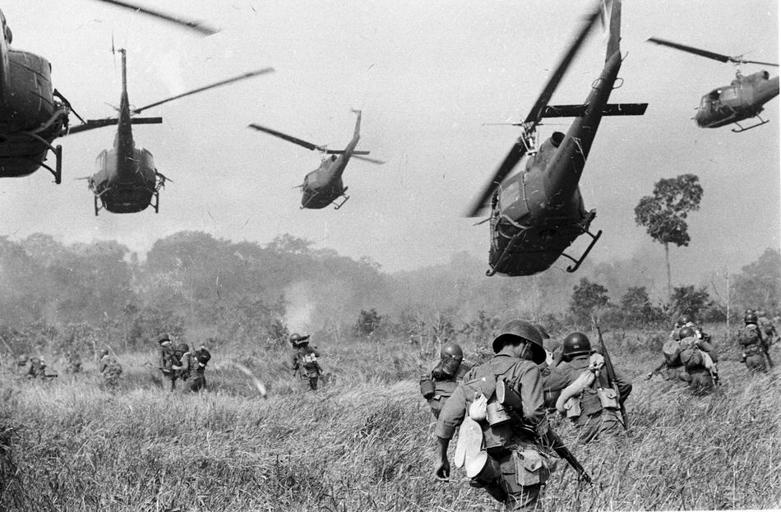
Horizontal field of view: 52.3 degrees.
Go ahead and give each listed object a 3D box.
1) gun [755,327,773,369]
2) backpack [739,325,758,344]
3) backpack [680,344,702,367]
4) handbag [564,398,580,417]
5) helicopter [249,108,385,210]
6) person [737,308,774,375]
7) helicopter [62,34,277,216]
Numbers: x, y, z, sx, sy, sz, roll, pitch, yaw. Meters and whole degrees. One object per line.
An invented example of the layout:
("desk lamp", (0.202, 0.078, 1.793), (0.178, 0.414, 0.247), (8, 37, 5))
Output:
("gun", (7.507, 1.859, 16.056), (0.169, 0.773, 0.401), (-10, -7, 28))
("backpack", (7.191, 1.592, 16.014), (0.320, 0.399, 0.213), (0, 6, 21))
("backpack", (5.448, 1.826, 14.510), (0.263, 0.389, 0.365), (17, 4, 18))
("handbag", (2.805, 2.340, 12.333), (0.145, 0.299, 0.220), (13, -18, -42))
("helicopter", (-1.423, -1.912, 17.587), (3.105, 1.625, 3.733), (6, -17, -27))
("person", (7.326, 1.803, 16.112), (0.548, 1.462, 0.513), (1, -3, -32))
("helicopter", (-5.379, -2.198, 16.253), (5.934, 2.306, 5.980), (1, -8, -20))
